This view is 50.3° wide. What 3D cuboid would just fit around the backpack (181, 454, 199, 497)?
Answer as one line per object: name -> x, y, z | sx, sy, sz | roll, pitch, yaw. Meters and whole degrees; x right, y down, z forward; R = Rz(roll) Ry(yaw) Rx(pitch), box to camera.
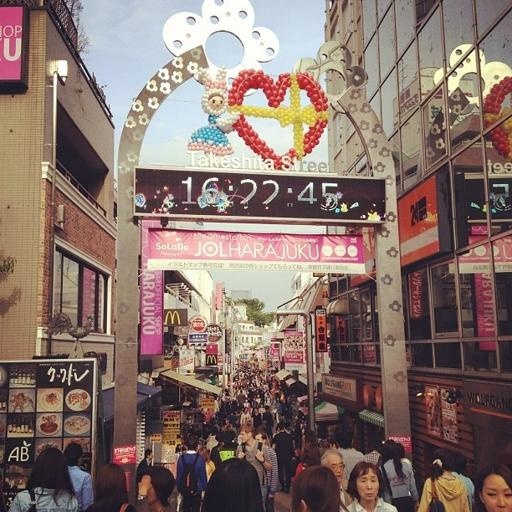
backpack -> -1.087, 3.647, 8.885 | 0.235, 0.459, 0.442 | 1, -27, 0
